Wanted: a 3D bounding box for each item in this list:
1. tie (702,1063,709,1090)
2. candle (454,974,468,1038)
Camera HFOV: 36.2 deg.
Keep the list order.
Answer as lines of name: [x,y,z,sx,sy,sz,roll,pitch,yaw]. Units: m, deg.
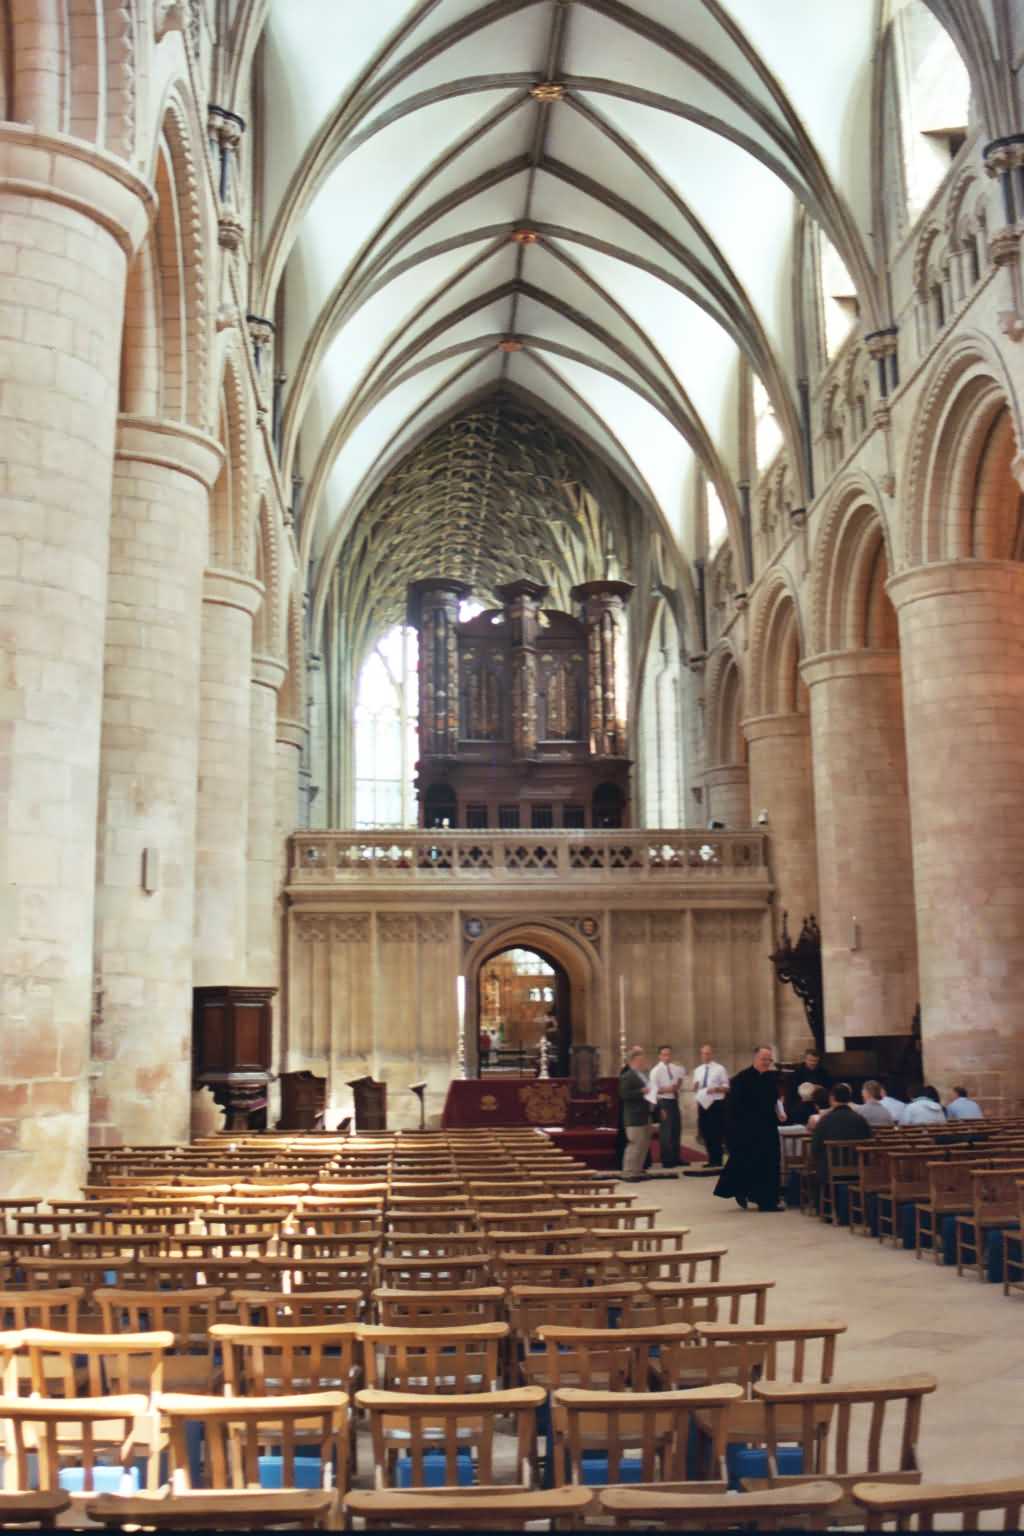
tie: [1.902,3.094,15.642,0.052,0.238,0.139,3,-10,-23]
candle: [-0.753,3.516,23.119,0.157,0.901,0.370,0,-9,-2]
